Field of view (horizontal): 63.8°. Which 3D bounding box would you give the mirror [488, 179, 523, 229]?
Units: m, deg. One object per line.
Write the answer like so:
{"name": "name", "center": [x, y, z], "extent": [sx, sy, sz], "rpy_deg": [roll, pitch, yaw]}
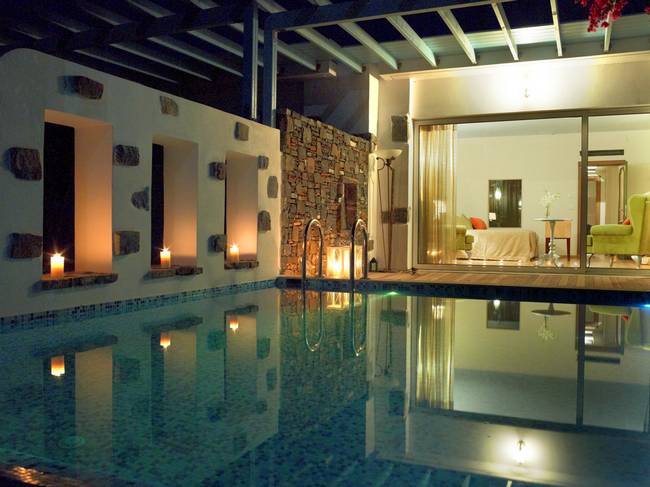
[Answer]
{"name": "mirror", "center": [5.025, -1.180, 14.486], "extent": [1.140, 2.033, 0.068], "rpy_deg": [0, 3, 20]}

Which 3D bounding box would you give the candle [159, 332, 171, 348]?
{"name": "candle", "center": [-1.157, 0.705, 3.812], "extent": [0.061, 0.079, 0.065], "rpy_deg": [-1, 4, -25]}

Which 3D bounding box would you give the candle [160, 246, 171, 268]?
{"name": "candle", "center": [-1.847, 0.174, 6.079], "extent": [0.102, 0.141, 0.203], "rpy_deg": [-2, 0, -23]}

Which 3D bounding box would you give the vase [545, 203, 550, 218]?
{"name": "vase", "center": [5.711, -0.876, 13.424], "extent": [0.091, 0.379, 0.103], "rpy_deg": [2, -18, 0]}

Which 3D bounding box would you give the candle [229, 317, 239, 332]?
{"name": "candle", "center": [-0.774, 0.687, 4.458], "extent": [0.055, 0.075, 0.061], "rpy_deg": [-1, 1, 6]}

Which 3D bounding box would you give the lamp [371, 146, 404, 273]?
{"name": "lamp", "center": [1.208, -0.709, 10.016], "extent": [0.489, 2.057, 0.505], "rpy_deg": [-2, -1, -37]}

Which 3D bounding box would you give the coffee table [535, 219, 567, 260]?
{"name": "coffee table", "center": [5.559, -0.096, 12.812], "extent": [0.750, 0.950, 0.762], "rpy_deg": [3, 8, 26]}

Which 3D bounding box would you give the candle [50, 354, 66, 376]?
{"name": "candle", "center": [-1.611, 0.735, 3.165], "extent": [0.046, 0.098, 0.093], "rpy_deg": [0, -4, -3]}

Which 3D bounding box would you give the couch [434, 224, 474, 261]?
{"name": "couch", "center": [2.995, -0.043, 11.819], "extent": [0.657, 0.933, 1.251], "rpy_deg": [0, 2, 10]}
